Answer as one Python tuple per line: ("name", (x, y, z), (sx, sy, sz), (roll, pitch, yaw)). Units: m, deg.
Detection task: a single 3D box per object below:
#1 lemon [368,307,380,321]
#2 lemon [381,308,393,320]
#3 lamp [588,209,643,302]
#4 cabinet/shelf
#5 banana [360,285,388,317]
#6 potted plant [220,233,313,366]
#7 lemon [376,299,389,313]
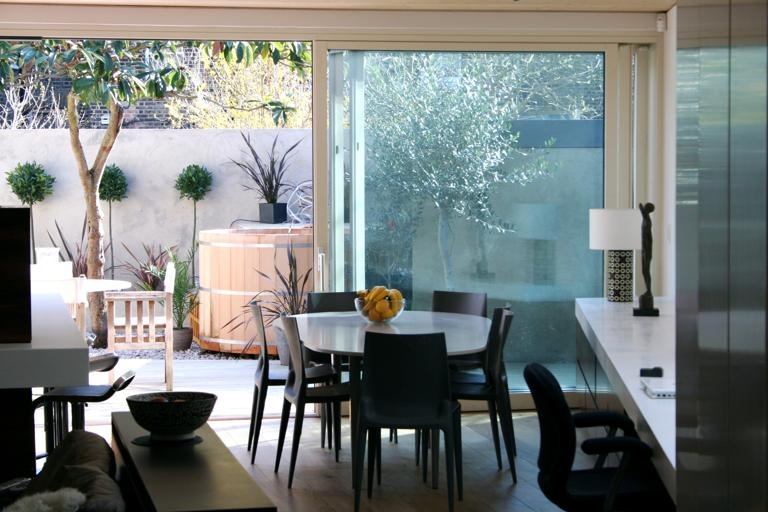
("lemon", (-0.061, 0.376, 4.203), (0.069, 0.089, 0.066), (8, 27, 42))
("lemon", (0.021, 0.373, 4.149), (0.064, 0.078, 0.062), (4, 22, 3))
("lamp", (1.718, -0.011, 4.790), (0.331, 0.683, 0.658), (0, 5, 21))
("cabinet/shelf", (-1.371, 0.289, 7.530), (1.465, 1.279, 1.421), (2, 2, 14))
("banana", (-0.079, 0.276, 4.215), (0.214, 0.130, 0.058), (-36, -14, 18))
("potted plant", (-0.880, 0.362, 6.572), (1.153, 1.249, 1.226), (0, 2, -28))
("lemon", (-0.012, 0.313, 4.127), (0.085, 0.066, 0.063), (-17, 10, -23))
